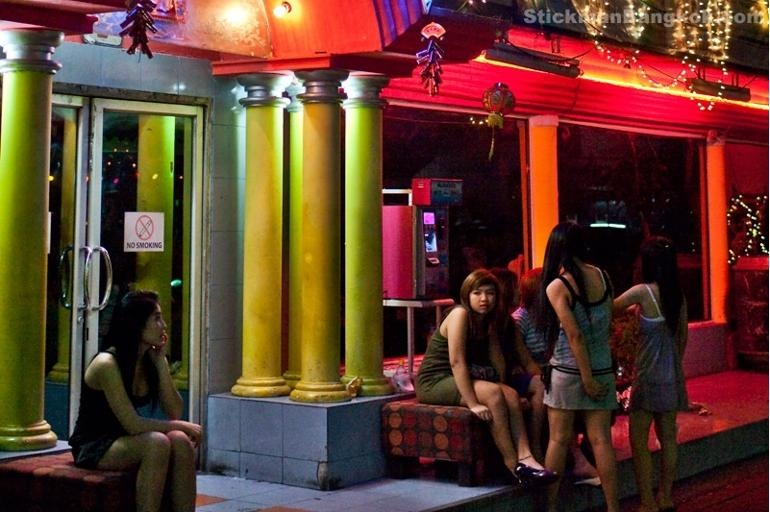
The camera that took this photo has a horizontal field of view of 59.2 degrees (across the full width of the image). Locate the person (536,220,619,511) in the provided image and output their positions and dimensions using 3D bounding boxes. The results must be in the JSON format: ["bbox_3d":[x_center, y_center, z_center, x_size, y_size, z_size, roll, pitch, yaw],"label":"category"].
[{"bbox_3d":[1.470,0.833,5.116,0.582,2.178,0.329,0,0,12],"label":"person"}]

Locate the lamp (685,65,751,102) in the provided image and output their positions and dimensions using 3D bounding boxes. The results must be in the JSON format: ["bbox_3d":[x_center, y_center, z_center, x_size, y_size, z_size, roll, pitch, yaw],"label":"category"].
[{"bbox_3d":[4.429,-2.246,9.112,0.812,0.364,0.241,-5,3,-18],"label":"lamp"}]

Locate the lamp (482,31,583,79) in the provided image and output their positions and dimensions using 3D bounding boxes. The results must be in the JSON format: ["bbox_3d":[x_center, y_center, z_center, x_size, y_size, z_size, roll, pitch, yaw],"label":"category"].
[{"bbox_3d":[1.615,-2.226,7.454,1.450,0.320,0.293,-1,1,-38],"label":"lamp"}]

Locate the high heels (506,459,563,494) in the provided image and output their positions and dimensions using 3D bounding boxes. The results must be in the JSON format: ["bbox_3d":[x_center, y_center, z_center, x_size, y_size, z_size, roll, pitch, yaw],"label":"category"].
[{"bbox_3d":[1.169,1.758,5.372,0.461,0.240,0.156,-17,-23,40],"label":"high heels"}]

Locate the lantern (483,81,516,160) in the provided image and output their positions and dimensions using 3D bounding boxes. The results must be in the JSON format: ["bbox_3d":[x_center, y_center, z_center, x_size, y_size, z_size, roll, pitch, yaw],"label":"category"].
[{"bbox_3d":[1.203,-1.470,7.289,0.345,0.780,0.350,4,11,-38],"label":"lantern"}]
